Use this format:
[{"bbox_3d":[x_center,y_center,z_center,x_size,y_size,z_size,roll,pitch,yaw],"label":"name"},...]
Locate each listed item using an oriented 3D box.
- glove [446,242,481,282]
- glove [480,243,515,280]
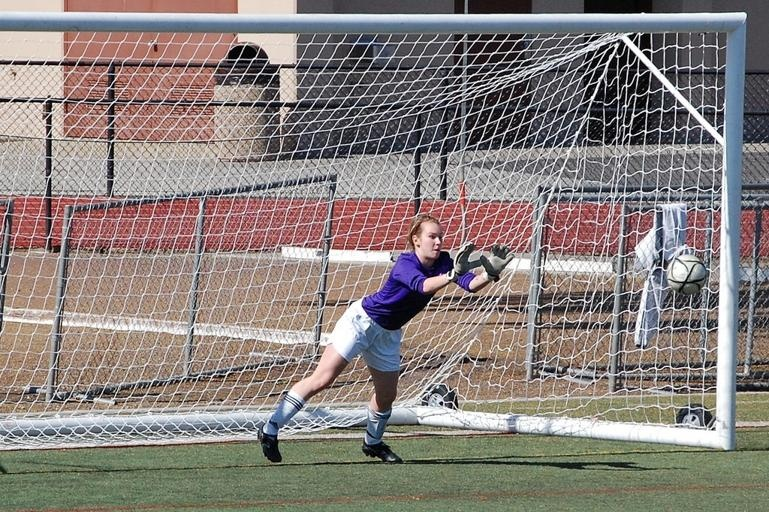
[{"bbox_3d":[0.739,0.060,11.333,0.284,0.357,0.291,3,-7,3],"label":"glove"},{"bbox_3d":[1.029,0.064,11.302,0.290,0.326,0.242,2,-7,5],"label":"glove"}]
